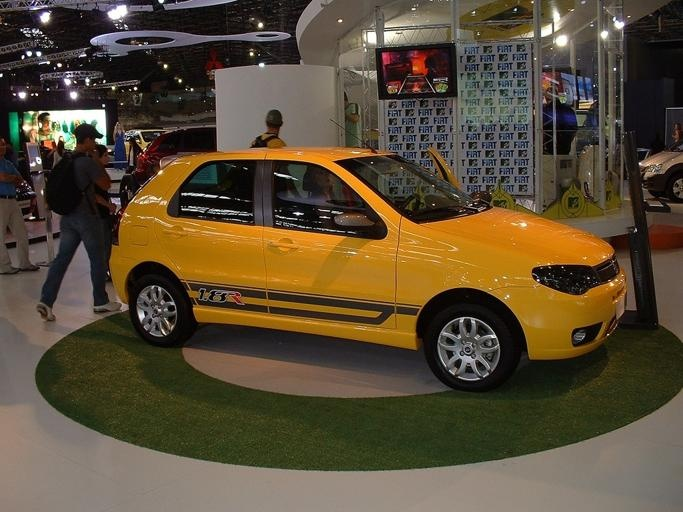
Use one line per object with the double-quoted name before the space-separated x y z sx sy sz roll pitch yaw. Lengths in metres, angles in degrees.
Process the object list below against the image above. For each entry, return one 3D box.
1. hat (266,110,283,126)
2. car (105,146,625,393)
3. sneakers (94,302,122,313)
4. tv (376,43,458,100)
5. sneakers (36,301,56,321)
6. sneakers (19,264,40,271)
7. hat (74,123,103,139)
"hat" -1.062 -2.192 7.247 0.218 0.178 0.318 1 20 2
"car" 0.230 0.027 4.792 4.300 1.813 2.227 2 8 21
"sneakers" -3.141 0.669 6.136 0.288 0.115 0.168 -8 14 -26
"tv" 1.519 -3.707 9.169 1.100 0.726 0.119 -1 10 12
"sneakers" -3.707 0.703 5.786 0.136 0.164 0.359 -7 -30 4
"sneakers" -5.718 0.199 8.401 0.322 0.141 0.120 -4 9 -19
"hat" -3.196 -1.558 5.819 0.335 0.175 0.242 -7 18 -32
